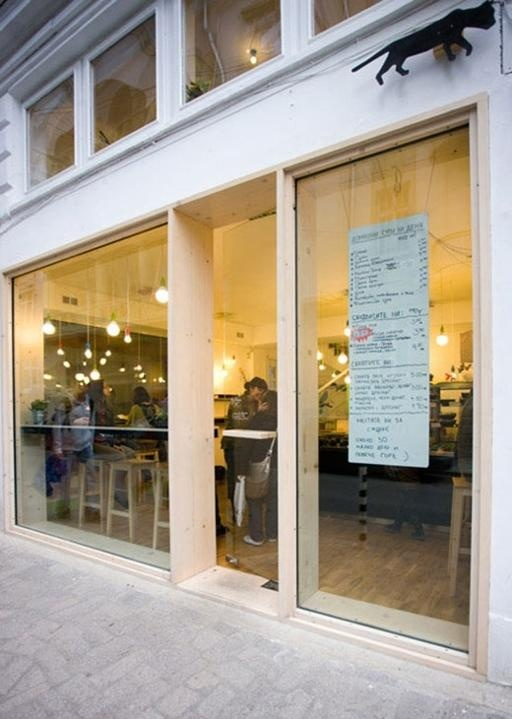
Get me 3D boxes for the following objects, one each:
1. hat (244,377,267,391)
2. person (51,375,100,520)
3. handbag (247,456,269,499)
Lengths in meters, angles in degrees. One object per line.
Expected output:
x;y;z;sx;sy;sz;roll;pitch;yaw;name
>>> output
-0.005;0.175;3.721;0.050;0.114;0.193;-2;0;-44;hat
-1.386;0.657;4.349;0.304;1.077;0.261;4;11;-15;person
0.015;0.776;3.674;0.196;0.282;0.053;-2;0;36;handbag
